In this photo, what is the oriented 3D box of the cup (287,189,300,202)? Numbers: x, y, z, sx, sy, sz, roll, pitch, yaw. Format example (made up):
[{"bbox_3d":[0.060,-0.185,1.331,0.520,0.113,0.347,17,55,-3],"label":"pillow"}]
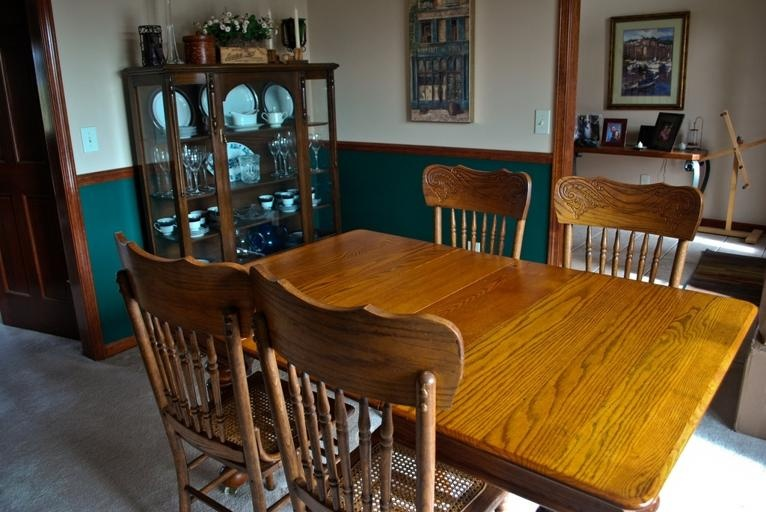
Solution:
[{"bbox_3d":[-0.662,-0.461,3.813,0.073,0.068,0.081,4,11,21],"label":"cup"}]

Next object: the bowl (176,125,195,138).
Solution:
[{"bbox_3d":[-1.203,-0.765,3.152,0.076,0.044,0.078,-1,14,0],"label":"bowl"}]

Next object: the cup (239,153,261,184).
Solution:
[{"bbox_3d":[-0.913,-0.601,3.530,0.177,0.200,0.178,-2,3,0],"label":"cup"}]

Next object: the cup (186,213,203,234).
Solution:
[{"bbox_3d":[-1.201,-0.216,3.286,0.098,0.094,0.106,0,6,0],"label":"cup"}]

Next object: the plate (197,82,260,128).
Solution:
[{"bbox_3d":[-0.938,-0.985,3.376,0.284,0.286,0.065,1,16,-27],"label":"plate"}]

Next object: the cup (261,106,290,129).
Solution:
[{"bbox_3d":[-0.754,-0.973,3.616,0.201,0.110,0.115,-10,19,-27],"label":"cup"}]

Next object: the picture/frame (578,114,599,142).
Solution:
[{"bbox_3d":[2.304,-1.428,5.760,0.325,0.318,0.034,0,4,16],"label":"picture/frame"}]

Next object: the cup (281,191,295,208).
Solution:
[{"bbox_3d":[-0.696,-0.422,3.794,0.096,0.100,0.117,3,10,15],"label":"cup"}]

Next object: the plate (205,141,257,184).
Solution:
[{"bbox_3d":[-0.967,-0.638,3.474,0.042,0.263,0.263,16,8,39],"label":"plate"}]

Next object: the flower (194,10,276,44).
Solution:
[{"bbox_3d":[-1.041,-1.551,3.640,0.417,0.201,0.426,-4,6,-23],"label":"flower"}]

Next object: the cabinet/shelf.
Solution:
[{"bbox_3d":[-1.043,-0.628,3.343,0.359,1.230,1.239,13,22,37],"label":"cabinet/shelf"}]

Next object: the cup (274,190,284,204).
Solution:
[{"bbox_3d":[-0.757,-0.431,3.742,0.068,0.063,0.077,8,15,25],"label":"cup"}]

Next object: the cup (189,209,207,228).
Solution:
[{"bbox_3d":[-1.186,-0.239,3.297,0.092,0.086,0.097,-2,8,0],"label":"cup"}]

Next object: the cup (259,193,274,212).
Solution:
[{"bbox_3d":[-0.825,-0.372,3.669,0.096,0.089,0.106,5,12,31],"label":"cup"}]

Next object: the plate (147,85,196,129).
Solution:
[{"bbox_3d":[-1.300,-0.878,3.185,0.059,0.299,0.305,-24,-16,4],"label":"plate"}]

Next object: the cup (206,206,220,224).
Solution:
[{"bbox_3d":[-1.117,-0.271,3.365,0.088,0.078,0.092,-2,7,0],"label":"cup"}]

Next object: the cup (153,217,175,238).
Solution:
[{"bbox_3d":[-1.411,-0.185,3.305,0.109,0.103,0.149,-4,7,-28],"label":"cup"}]

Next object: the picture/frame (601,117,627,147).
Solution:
[{"bbox_3d":[2.602,-1.393,5.767,0.325,0.411,0.026,12,21,40],"label":"picture/frame"}]
